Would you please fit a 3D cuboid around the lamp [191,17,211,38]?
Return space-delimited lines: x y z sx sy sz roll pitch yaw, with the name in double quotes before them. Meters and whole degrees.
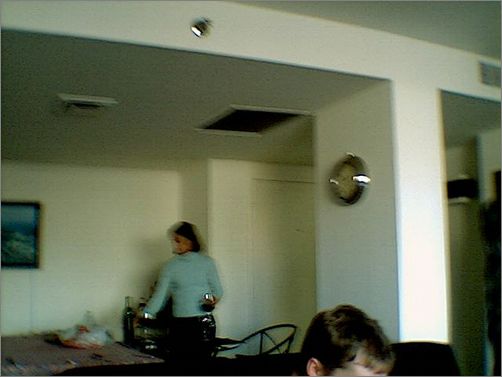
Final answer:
"lamp" -0.251 -0.801 3.076 0.080 0.104 0.026 48 -14 -22

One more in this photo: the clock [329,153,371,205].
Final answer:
"clock" 0.531 -0.054 3.392 0.262 0.294 0.084 5 -10 -34
